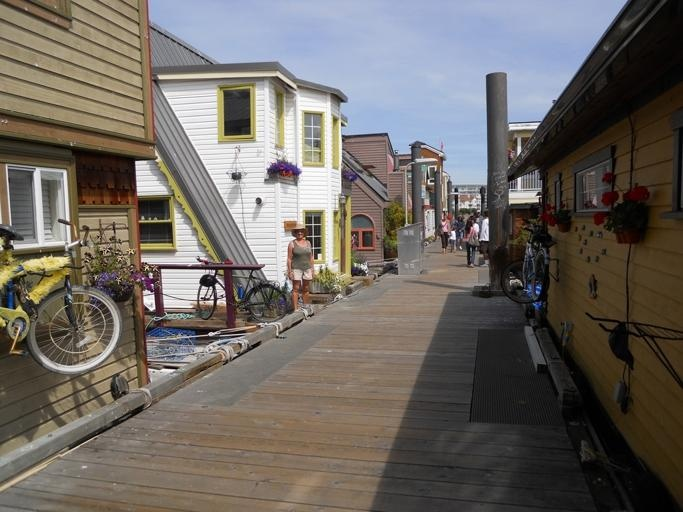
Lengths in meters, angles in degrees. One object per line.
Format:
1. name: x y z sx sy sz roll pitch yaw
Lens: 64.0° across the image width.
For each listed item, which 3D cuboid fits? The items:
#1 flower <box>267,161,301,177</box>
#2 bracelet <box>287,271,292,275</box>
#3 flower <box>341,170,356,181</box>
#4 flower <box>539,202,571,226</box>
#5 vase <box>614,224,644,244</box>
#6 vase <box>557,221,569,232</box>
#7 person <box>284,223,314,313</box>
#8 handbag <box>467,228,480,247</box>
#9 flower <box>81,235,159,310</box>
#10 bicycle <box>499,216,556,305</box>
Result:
1. flower: -1.565 -2.371 14.672 0.411 0.458 1.073 -2 3 26
2. bracelet: -1.084 0.331 11.225 0.105 0.036 0.113 -5 -2 -7
3. flower: 0.244 -2.876 19.412 0.351 0.244 0.420 0 4 -6
4. flower: 3.135 -0.577 8.009 0.260 0.374 0.371 6 4 -42
5. vase: 2.428 -0.175 4.611 0.216 0.143 0.195 -2 3 24
6. vase: 3.147 -0.416 7.727 0.119 0.094 0.117 -3 3 -36
7. person: -0.844 0.275 11.185 0.481 1.750 1.035 -3 3 -3
8. handbag: 4.614 -0.669 19.306 0.325 0.674 0.914 -2 3 20
9. flower: -2.865 0.317 7.075 0.802 0.663 0.865 -3 6 -30
10. bicycle: 3.403 0.201 9.537 0.837 1.163 1.858 18 1 11
